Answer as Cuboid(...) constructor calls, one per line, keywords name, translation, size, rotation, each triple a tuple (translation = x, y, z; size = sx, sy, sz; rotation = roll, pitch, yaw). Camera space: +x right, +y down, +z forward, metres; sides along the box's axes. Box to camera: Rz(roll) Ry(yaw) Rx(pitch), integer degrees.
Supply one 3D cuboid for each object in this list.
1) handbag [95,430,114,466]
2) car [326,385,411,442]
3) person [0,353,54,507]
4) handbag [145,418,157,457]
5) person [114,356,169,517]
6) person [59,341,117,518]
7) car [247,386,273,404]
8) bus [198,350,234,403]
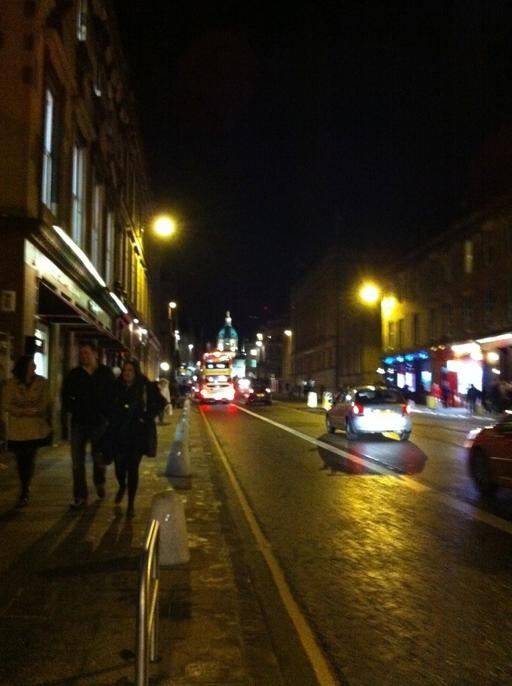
Cuboid(name="handbag", translation=(-1.700, 1.137, 7.138), size=(0.114, 0.501, 0.289), rotation=(2, -11, -40))
Cuboid(name="car", translation=(2.890, 1.797, 17.288), size=(0.949, 1.113, 2.497), rotation=(2, -2, -1))
Cuboid(name="person", translation=(-2.632, 0.990, 7.362), size=(0.543, 1.723, 0.453), rotation=(2, -5, -22))
Cuboid(name="handbag", translation=(-1.143, 1.014, 6.947), size=(0.103, 0.402, 0.310), rotation=(0, -6, 2))
Cuboid(name="person", translation=(-1.328, 1.015, 7.025), size=(0.803, 1.709, 0.527), rotation=(-3, -6, 33))
Cuboid(name="person", translation=(-1.966, 0.940, 7.472), size=(0.590, 1.900, 1.292), rotation=(2, -6, -18))
Cuboid(name="car", translation=(0.228, 3.688, 46.855), size=(1.444, 1.365, 2.475), rotation=(4, -8, -28))
Cuboid(name="bus", translation=(-3.257, 2.849, 54.118), size=(2.310, 4.938, 8.305), rotation=(2, 2, -2))
